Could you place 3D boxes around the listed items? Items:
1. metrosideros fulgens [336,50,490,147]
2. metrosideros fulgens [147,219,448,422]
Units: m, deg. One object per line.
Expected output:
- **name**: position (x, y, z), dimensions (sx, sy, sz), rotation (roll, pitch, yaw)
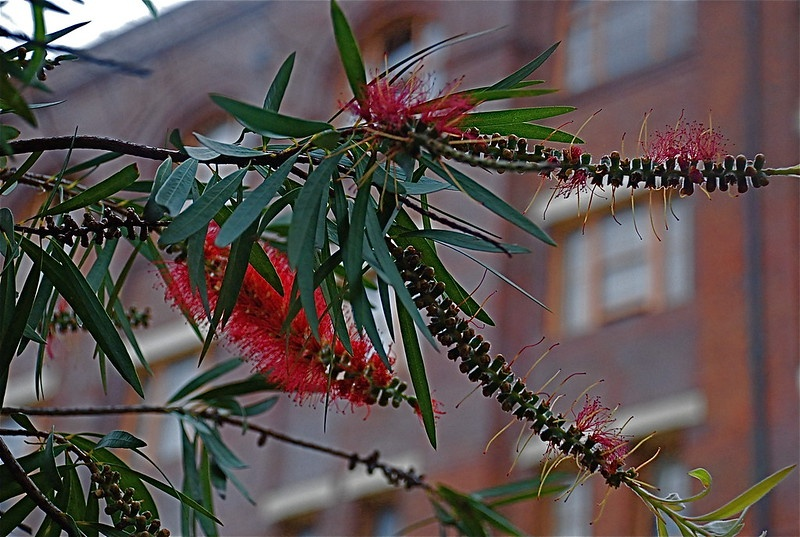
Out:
- **metrosideros fulgens**: position (-0.001, -0.426, 3.762), dimensions (0.263, 0.168, 0.286), rotation (-18, -24, 28)
- **metrosideros fulgens**: position (-0.253, 0.143, 4.064), dimensions (0.920, 0.303, 0.361), rotation (31, -53, 5)
